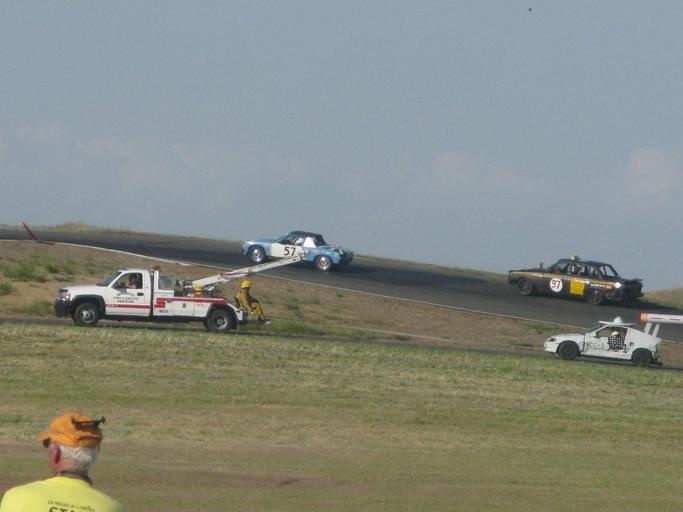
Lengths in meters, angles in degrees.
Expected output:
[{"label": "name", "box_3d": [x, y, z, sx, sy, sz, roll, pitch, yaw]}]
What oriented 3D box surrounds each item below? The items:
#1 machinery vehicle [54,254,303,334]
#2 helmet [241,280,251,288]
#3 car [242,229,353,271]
[{"label": "machinery vehicle", "box_3d": [-4.817, 1.057, 52.544, 7.144, 2.253, 2.686, 2, -1, -12]}, {"label": "helmet", "box_3d": [-2.871, 0.810, 53.444, 0.225, 0.163, 0.335, 2, 9, 5]}, {"label": "car", "box_3d": [-1.710, -0.274, 66.866, 3.787, 1.150, 1.941, 9, 7, 10]}]
